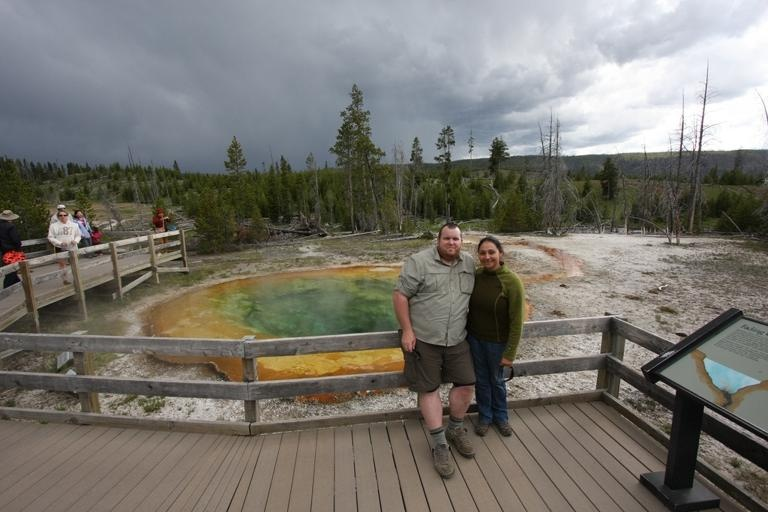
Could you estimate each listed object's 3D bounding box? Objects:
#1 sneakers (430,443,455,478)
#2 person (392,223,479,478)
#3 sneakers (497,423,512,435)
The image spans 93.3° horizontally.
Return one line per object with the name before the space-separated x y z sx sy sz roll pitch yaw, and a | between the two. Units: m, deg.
sneakers | 0.721 2.451 4.479 0.235 0.177 0.551 -2 19 -2
person | 0.661 1.109 4.541 1.009 2.994 1.188 -4 13 13
sneakers | 1.624 2.342 4.915 0.118 0.074 0.188 -3 1 -4
